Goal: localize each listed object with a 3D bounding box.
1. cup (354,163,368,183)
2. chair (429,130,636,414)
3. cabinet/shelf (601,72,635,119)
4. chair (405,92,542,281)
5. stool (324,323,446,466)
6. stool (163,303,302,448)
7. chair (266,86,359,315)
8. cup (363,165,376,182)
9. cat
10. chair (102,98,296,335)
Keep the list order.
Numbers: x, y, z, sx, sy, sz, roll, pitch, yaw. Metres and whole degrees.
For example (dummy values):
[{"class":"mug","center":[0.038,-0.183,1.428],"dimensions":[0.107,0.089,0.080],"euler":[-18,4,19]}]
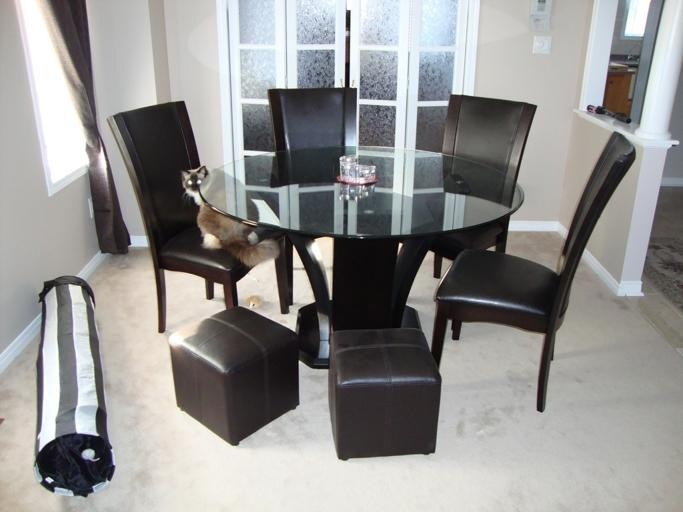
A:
[{"class":"cup","center":[0.088,-0.427,2.761],"dimensions":[0.070,0.146,0.074],"euler":[0,13,0]},{"class":"chair","center":[0.895,0.073,2.677],"dimensions":[0.689,1.325,0.645],"euler":[9,27,17]},{"class":"cabinet/shelf","center":[3.350,-1.971,6.334],"dimensions":[0.307,0.482,0.249],"euler":[13,27,24]},{"class":"chair","center":[0.798,-0.401,3.322],"dimensions":[0.597,1.087,0.702],"euler":[12,27,21]},{"class":"stool","center":[0.167,0.595,2.314],"dimensions":[0.467,0.455,0.507],"euler":[-1,21,-3]},{"class":"stool","center":[-0.531,0.500,2.604],"dimensions":[0.546,0.569,0.541],"euler":[-19,30,-41]},{"class":"chair","center":[-0.195,-0.450,3.473],"dimensions":[0.654,1.230,0.746],"euler":[3,21,18]},{"class":"cup","center":[0.148,-0.437,2.795],"dimensions":[0.064,0.085,0.088],"euler":[-3,14,-6]},{"class":"cat","center":[-0.592,-0.126,2.992],"dimensions":[0.316,0.810,0.326],"euler":[-26,-8,-8]},{"class":"chair","center":[-0.807,-0.176,3.099],"dimensions":[0.705,1.355,0.684],"euler":[4,22,16]}]
